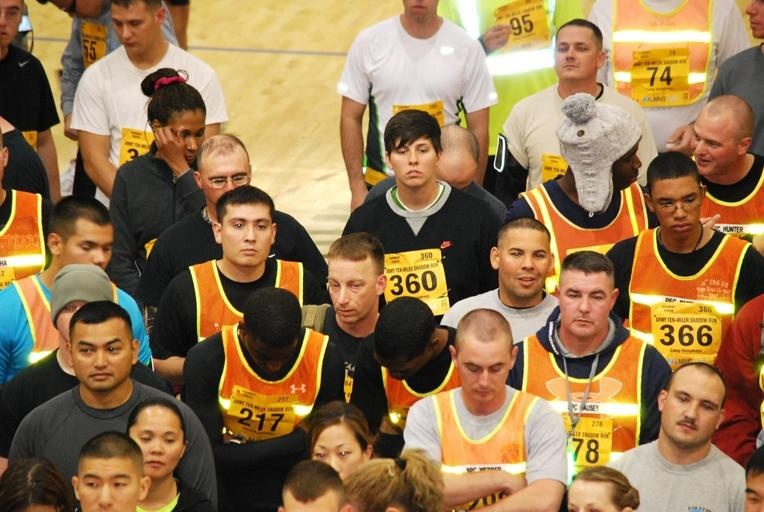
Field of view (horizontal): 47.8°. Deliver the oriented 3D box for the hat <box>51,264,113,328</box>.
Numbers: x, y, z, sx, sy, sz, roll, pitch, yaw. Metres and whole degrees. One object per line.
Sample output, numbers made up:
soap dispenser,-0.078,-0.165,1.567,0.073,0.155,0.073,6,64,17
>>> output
hat,-2.538,0.303,7.435,0.434,0.501,0.557,-4,15,-10
